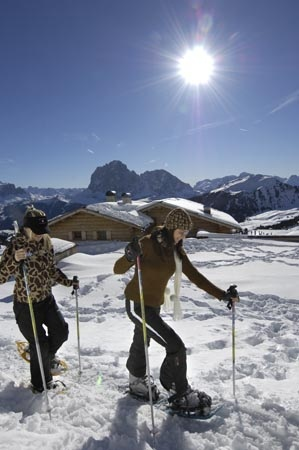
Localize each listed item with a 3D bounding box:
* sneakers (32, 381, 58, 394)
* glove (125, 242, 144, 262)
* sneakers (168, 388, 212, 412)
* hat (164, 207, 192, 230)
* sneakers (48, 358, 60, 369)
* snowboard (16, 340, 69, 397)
[{"bbox_3d":[-1.325,2.071,4.599,0.308,0.138,0.103,-8,4,-25],"label":"sneakers"},{"bbox_3d":[-0.177,0.328,4.242,0.179,0.205,0.230,6,31,3],"label":"glove"},{"bbox_3d":[0.488,2.146,4.378,0.374,0.181,0.247,-3,-9,-3],"label":"sneakers"},{"bbox_3d":[0.358,-0.078,4.525,0.234,0.244,0.328,3,-1,-31],"label":"hat"},{"bbox_3d":[-1.309,1.890,4.953,0.116,0.119,0.137,0,6,4],"label":"sneakers"},{"bbox_3d":[-1.500,1.955,4.985,0.883,0.181,0.459,39,16,33],"label":"snowboard"}]
